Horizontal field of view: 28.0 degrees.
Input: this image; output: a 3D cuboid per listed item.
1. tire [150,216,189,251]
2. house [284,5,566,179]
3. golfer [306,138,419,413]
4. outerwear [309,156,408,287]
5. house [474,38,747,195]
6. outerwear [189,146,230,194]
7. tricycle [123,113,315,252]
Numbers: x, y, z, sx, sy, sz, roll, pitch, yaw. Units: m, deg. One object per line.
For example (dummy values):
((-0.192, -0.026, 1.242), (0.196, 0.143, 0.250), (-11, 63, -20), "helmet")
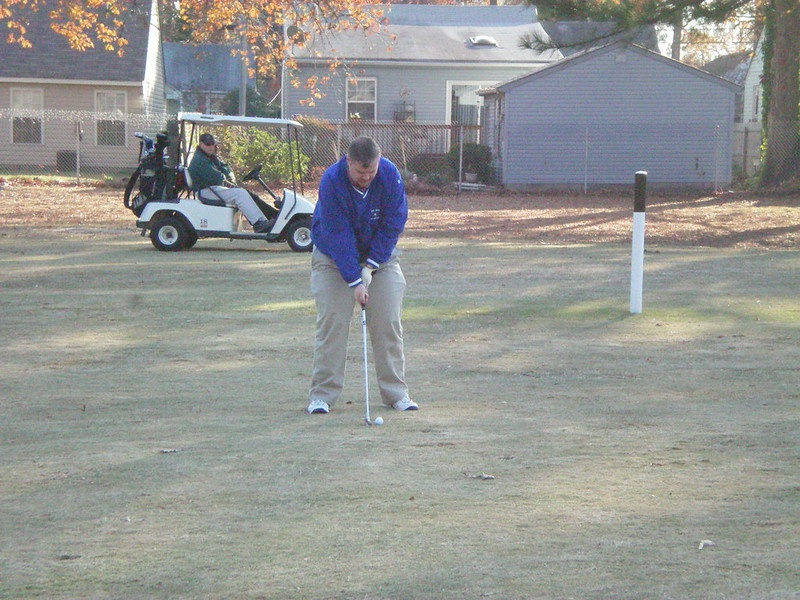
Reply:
((-3.909, -1.133, 27.154), (0.589, 0.494, 0.224), (10, 5, 6), "tire")
((0.441, -6.239, 45.824), (11.084, 5.634, 5.724), (-2, 5, -12), "house")
((-0.349, -0.243, 18.562), (1.476, 2.963, 1.454), (-2, 4, -14), "golfer")
((-0.444, -0.897, 18.310), (1.194, 1.397, 0.411), (-4, 7, -17), "outerwear")
((5.730, -4.870, 43.427), (6.033, 3.011, 5.432), (0, 3, 1), "house")
((-3.204, -2.094, 27.165), (0.698, 0.794, 0.717), (4, 8, 23), "outerwear")
((-2.885, -1.907, 27.473), (3.738, 1.987, 1.476), (2, 7, 10), "tricycle")
